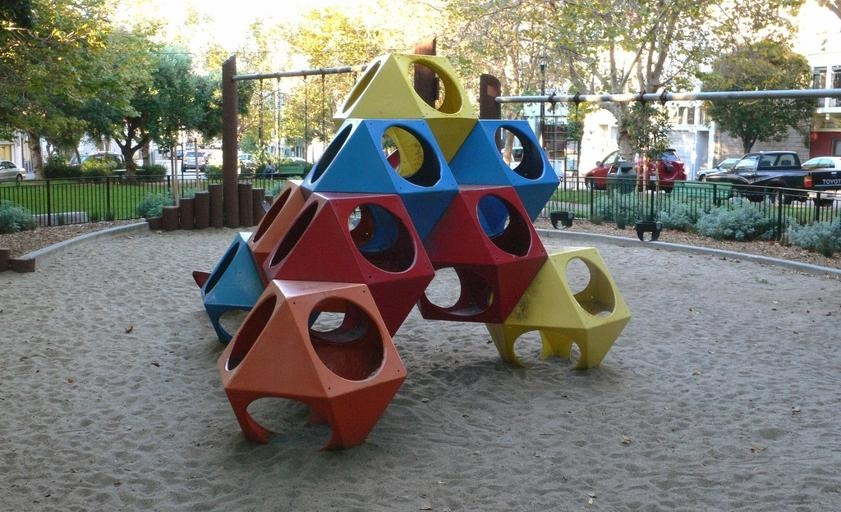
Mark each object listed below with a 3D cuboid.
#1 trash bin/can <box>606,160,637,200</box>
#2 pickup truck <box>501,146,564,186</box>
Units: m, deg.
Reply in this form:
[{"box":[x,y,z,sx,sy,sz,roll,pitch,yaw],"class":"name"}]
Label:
[{"box":[6.839,-2.589,24.822,1.030,1.141,1.004,7,18,21],"class":"trash bin/can"},{"box":[6.313,-5.401,41.506,4.968,2.467,4.874,-1,9,6],"class":"pickup truck"}]
